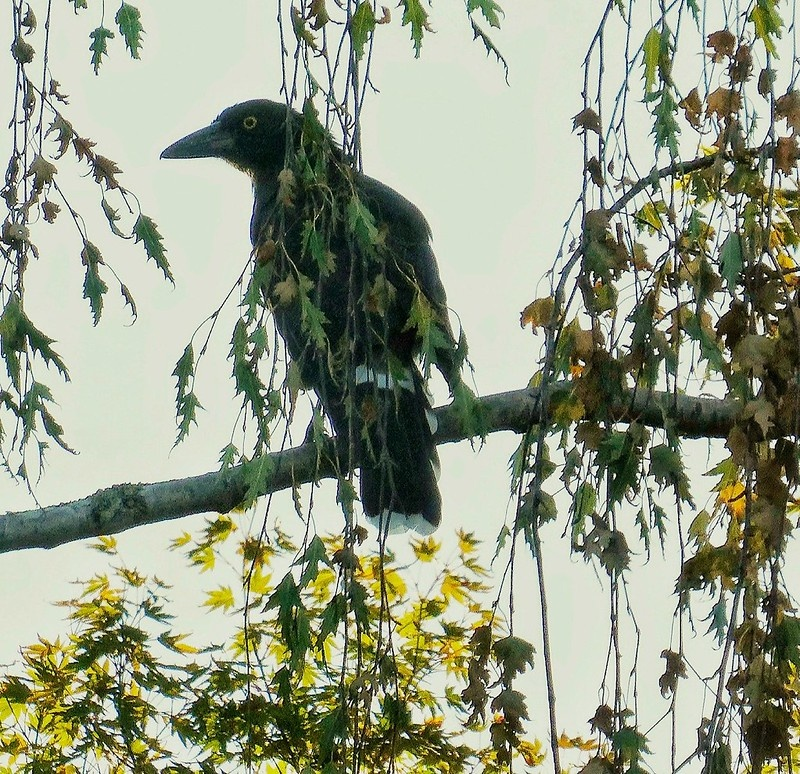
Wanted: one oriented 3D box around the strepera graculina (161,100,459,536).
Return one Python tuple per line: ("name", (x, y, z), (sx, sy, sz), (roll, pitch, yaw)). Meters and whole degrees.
("strepera graculina", (-0.200, -0.089, 5.992), (0.667, 1.223, 0.394), (-4, -28, 3))
